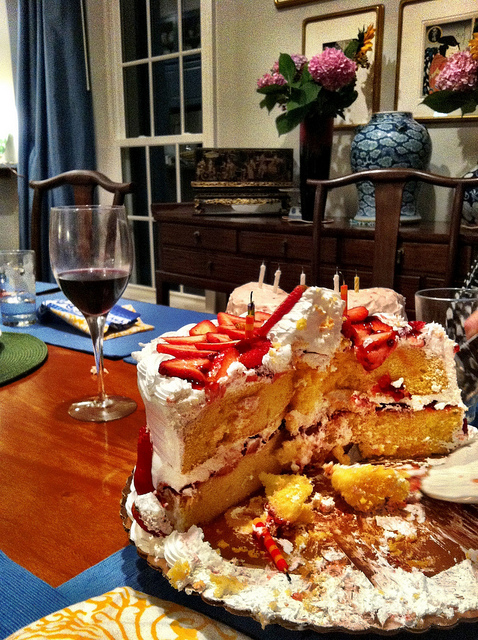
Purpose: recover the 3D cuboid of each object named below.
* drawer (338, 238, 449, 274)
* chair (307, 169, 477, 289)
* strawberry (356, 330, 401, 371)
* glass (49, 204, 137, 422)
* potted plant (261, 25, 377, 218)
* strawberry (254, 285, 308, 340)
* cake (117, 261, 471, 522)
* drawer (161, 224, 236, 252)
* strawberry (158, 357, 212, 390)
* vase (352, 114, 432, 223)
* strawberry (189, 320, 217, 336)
[{"bbox_3d":[0.546,-0.238,1.875,0.054,0.113,0.410,-12,20,-42],"label":"drawer"},{"bbox_3d":[0.541,-0.312,1.809,0.493,0.564,0.372,6,31,15],"label":"chair"},{"bbox_3d":[0.172,0.037,0.632,0.038,0.027,0.058,23,47,25],"label":"strawberry"},{"bbox_3d":[-0.193,-0.019,0.683,0.100,0.264,0.175,-2,16,-18],"label":"glass"},{"bbox_3d":[0.328,-0.835,2.147,0.441,0.651,0.339,-13,35,-20],"label":"potted plant"},{"bbox_3d":[0.045,-0.009,0.580,0.023,0.056,0.076,15,19,40],"label":"strawberry"},{"bbox_3d":[0.074,-0.002,0.658,0.369,0.212,0.345,-2,18,-6],"label":"cake"},{"bbox_3d":[-0.189,-0.393,2.429,0.238,0.051,0.214,10,10,27],"label":"drawer"},{"bbox_3d":[-0.052,0.044,0.488,0.042,0.027,0.033,-11,19,-33],"label":"strawberry"},{"bbox_3d":[0.650,-0.650,2.198,0.378,0.439,0.363,-2,13,-9],"label":"vase"},{"bbox_3d":[-0.043,0.008,0.598,0.019,0.005,0.018,-11,29,-21],"label":"strawberry"}]
